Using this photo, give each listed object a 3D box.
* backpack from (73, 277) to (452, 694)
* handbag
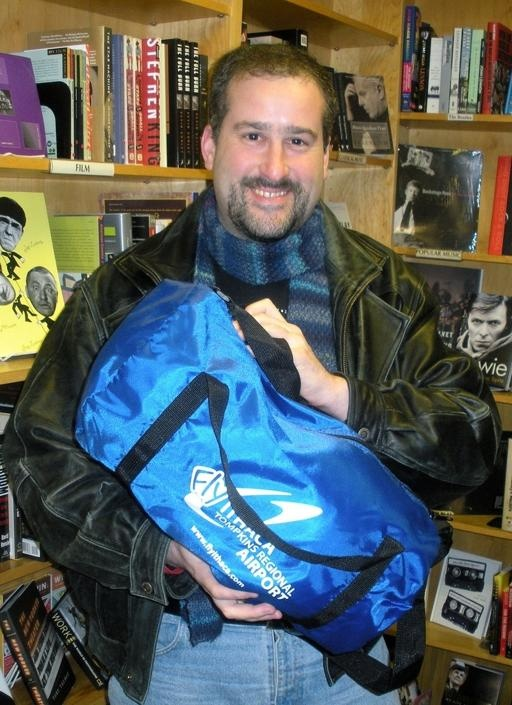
[{"bbox_3d":[0.020,0.166,0.727,0.278,0.531,0.179,-43,-3,-20],"label":"backpack"},{"bbox_3d":[0.023,0.162,0.722,0.268,0.516,0.197,-41,-3,2],"label":"handbag"}]
